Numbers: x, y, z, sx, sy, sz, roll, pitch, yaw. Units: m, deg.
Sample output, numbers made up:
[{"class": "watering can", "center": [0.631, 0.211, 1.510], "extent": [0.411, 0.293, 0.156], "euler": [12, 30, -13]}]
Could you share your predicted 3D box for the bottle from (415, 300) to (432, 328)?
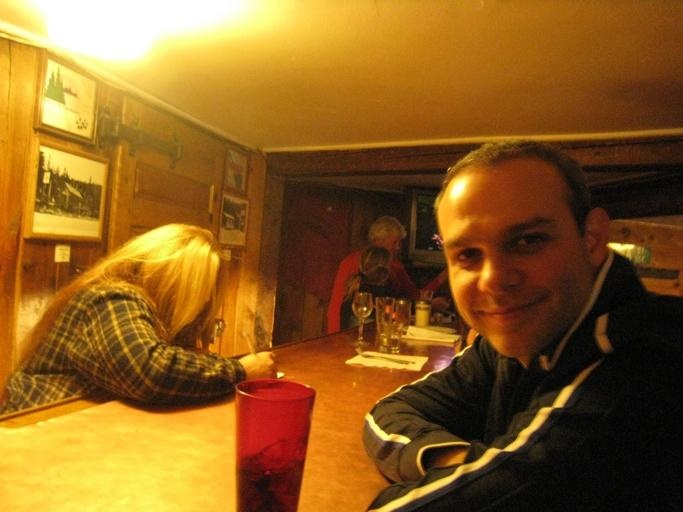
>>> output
[{"class": "bottle", "center": [0.447, 0.321, 2.913], "extent": [0.118, 0.177, 0.132], "euler": [0, -2, 6]}]

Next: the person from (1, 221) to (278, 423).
[{"class": "person", "center": [-0.832, 0.207, 1.968], "extent": [0.652, 0.449, 1.019], "euler": [6, 29, 11]}]

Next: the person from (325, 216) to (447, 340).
[{"class": "person", "center": [0.455, 0.452, 4.633], "extent": [1.034, 1.527, 0.664], "euler": [3, -5, 23]}]
